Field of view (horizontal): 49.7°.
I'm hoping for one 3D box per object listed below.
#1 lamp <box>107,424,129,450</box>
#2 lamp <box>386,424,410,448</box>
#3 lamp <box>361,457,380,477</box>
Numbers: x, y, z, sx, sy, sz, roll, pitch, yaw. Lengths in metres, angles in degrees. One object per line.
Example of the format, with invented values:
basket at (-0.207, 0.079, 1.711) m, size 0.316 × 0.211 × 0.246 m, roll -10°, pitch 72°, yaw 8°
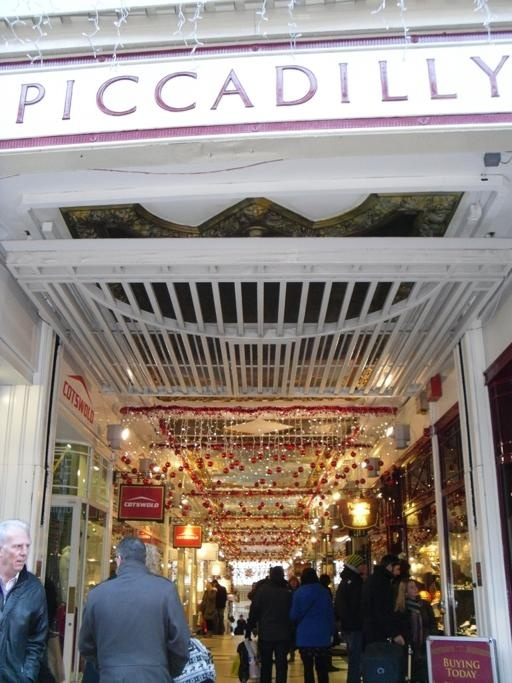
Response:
lamp at (-2.376, 1.603, 9.367) m, size 0.315 × 0.431 × 0.387 m, roll 1°, pitch -23°, yaw -5°
lamp at (2.343, 1.534, 8.992) m, size 0.343 × 0.404 × 0.477 m, roll -7°, pitch -23°, yaw 12°
lamp at (2.488, 2.662, 11.663) m, size 0.364 × 0.402 × 0.704 m, roll -8°, pitch -24°, yaw 14°
